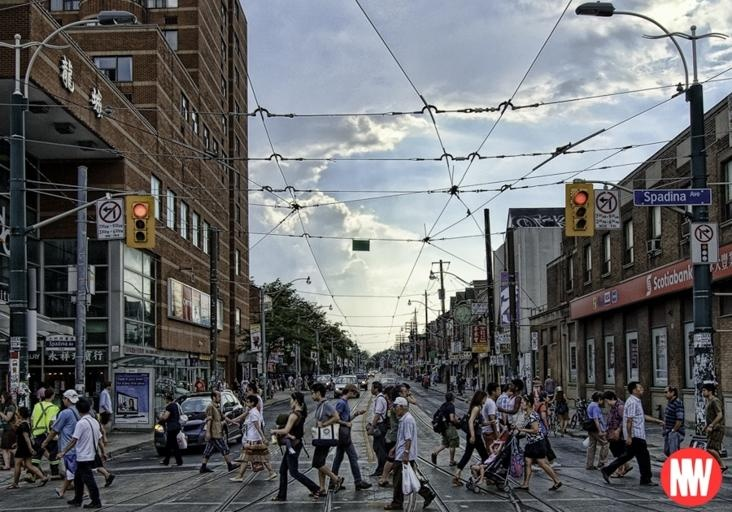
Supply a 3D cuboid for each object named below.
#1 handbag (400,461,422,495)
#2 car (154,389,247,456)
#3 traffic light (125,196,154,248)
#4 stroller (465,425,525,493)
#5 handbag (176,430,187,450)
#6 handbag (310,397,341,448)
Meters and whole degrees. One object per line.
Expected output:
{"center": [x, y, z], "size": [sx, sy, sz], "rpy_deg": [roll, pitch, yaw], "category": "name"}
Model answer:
{"center": [1.157, 5.722, 24.654], "size": [0.476, 0.746, 0.368], "rpy_deg": [-4, -12, 3], "category": "handbag"}
{"center": [-6.390, 6.352, 37.270], "size": [2.656, 2.111, 5.796], "rpy_deg": [-2, -4, 4], "category": "car"}
{"center": [-7.444, -1.163, 31.225], "size": [0.893, 1.807, 0.562], "rpy_deg": [0, -12, -15], "category": "traffic light"}
{"center": [3.551, 5.717, 27.192], "size": [1.451, 1.920, 1.157], "rpy_deg": [4, -5, -2], "category": "stroller"}
{"center": [-6.166, 6.157, 31.670], "size": [0.246, 0.662, 0.493], "rpy_deg": [-10, -1, -4], "category": "handbag"}
{"center": [-1.140, 4.717, 26.338], "size": [0.813, 1.133, 0.359], "rpy_deg": [0, -8, -12], "category": "handbag"}
